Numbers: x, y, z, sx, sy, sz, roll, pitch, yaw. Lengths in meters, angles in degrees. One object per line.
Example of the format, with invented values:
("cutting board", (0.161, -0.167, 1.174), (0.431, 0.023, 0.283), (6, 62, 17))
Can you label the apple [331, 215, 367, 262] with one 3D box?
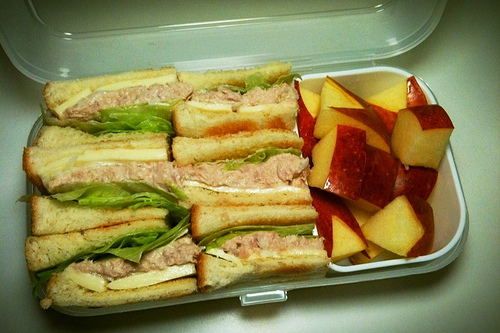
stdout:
("apple", (0.703, 0.546, 3.225), (0.279, 0.133, 0.336), (-26, 74, -9))

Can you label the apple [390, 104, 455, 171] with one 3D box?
("apple", (1.389, -0.222, 3.338), (0.214, 0.427, 0.353), (-6, 38, -15))

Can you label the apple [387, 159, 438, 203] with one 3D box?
("apple", (1.346, 0.156, 3.447), (0.366, 0.221, 0.355), (18, 86, 4))

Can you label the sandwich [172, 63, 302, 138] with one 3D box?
("sandwich", (-0.107, -0.536, 3.330), (0.943, 0.316, 0.568), (-5, 68, -3))
